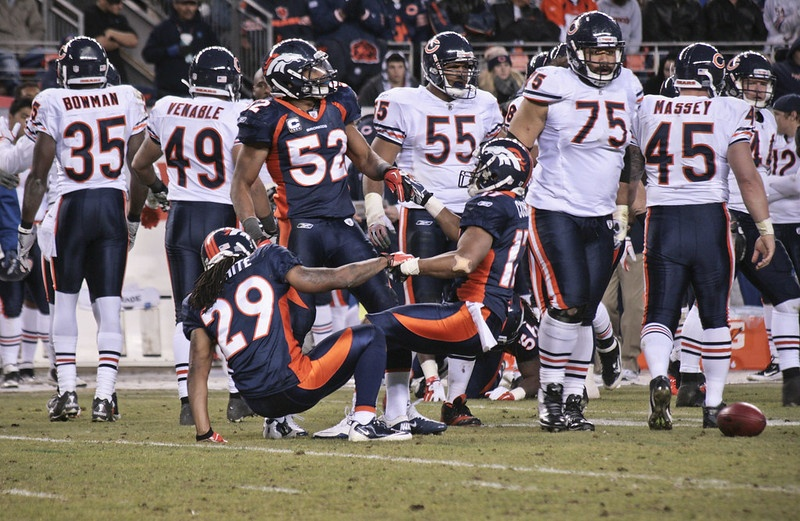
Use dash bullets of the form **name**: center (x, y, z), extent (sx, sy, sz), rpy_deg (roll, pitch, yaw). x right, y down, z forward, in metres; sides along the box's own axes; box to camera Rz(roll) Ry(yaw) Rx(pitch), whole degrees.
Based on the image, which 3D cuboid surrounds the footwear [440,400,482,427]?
- **footwear**: center (0.497, 1.305, 9.657), extent (0.154, 0.203, 0.418), rpy_deg (1, -5, -45)

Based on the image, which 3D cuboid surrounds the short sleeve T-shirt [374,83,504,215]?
- **short sleeve T-shirt**: center (0.330, -0.974, 9.938), extent (1.270, 1.113, 0.443), rpy_deg (0, -2, -22)

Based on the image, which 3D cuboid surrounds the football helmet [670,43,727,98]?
- **football helmet**: center (2.552, -1.625, 9.600), extent (0.426, 0.480, 0.583), rpy_deg (8, 12, 31)

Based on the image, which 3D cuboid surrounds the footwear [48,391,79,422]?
- **footwear**: center (-3.033, 1.303, 10.135), extent (0.162, 0.208, 0.376), rpy_deg (5, -1, -27)

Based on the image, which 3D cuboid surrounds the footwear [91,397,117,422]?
- **footwear**: center (-2.679, 1.339, 10.131), extent (0.118, 0.145, 0.321), rpy_deg (5, -21, -3)

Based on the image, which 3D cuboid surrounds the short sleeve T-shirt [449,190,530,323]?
- **short sleeve T-shirt**: center (0.683, -0.069, 9.029), extent (0.624, 1.091, 1.108), rpy_deg (11, 0, 7)

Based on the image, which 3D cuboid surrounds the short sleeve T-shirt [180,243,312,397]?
- **short sleeve T-shirt**: center (-1.116, 0.392, 8.475), extent (0.947, 1.138, 0.407), rpy_deg (-16, -4, 10)

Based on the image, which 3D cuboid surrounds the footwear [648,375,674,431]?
- **footwear**: center (2.117, 1.136, 9.147), extent (0.189, 0.473, 0.293), rpy_deg (0, 9, 12)

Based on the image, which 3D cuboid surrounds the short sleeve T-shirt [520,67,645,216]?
- **short sleeve T-shirt**: center (1.879, -1.019, 9.349), extent (0.648, 1.069, 1.083), rpy_deg (-16, 17, -39)

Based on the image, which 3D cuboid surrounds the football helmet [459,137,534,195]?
- **football helmet**: center (0.783, -0.763, 9.001), extent (0.496, 0.429, 0.378), rpy_deg (10, 9, 14)

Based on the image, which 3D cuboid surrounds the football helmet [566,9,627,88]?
- **football helmet**: center (1.628, -1.758, 9.324), extent (0.449, 0.583, 0.583), rpy_deg (-6, 21, -15)

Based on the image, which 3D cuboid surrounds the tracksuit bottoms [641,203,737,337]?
- **tracksuit bottoms**: center (2.373, 0.056, 9.231), extent (0.707, 1.042, 0.295), rpy_deg (0, 9, 12)

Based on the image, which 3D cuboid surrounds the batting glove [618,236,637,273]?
- **batting glove**: center (2.371, -0.059, 11.766), extent (0.110, 0.387, 0.273), rpy_deg (5, -7, 15)

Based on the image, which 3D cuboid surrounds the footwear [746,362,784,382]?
- **footwear**: center (4.136, 1.264, 12.731), extent (0.497, 0.226, 0.168), rpy_deg (0, -1, 5)

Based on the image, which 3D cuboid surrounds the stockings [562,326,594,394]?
- **stockings**: center (1.522, 0.848, 9.535), extent (0.198, 0.656, 0.283), rpy_deg (8, 3, 22)

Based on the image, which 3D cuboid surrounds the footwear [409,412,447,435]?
- **footwear**: center (0.209, 1.347, 9.280), extent (0.355, 0.160, 0.124), rpy_deg (-3, -1, 8)

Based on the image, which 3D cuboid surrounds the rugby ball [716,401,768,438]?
- **rugby ball**: center (2.711, 1.263, 8.945), extent (0.414, 0.328, 0.322), rpy_deg (5, -19, 23)

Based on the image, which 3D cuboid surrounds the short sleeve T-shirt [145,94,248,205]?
- **short sleeve T-shirt**: center (-1.800, -1.000, 10.048), extent (1.017, 0.935, 0.550), rpy_deg (1, 8, 7)

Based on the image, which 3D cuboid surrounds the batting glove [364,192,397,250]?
- **batting glove**: center (-0.172, -0.360, 9.951), extent (0.172, 0.505, 0.260), rpy_deg (7, -32, -38)

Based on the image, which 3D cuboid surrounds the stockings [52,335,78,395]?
- **stockings**: center (-3.104, 0.963, 10.393), extent (0.199, 0.634, 0.181), rpy_deg (5, 10, 20)

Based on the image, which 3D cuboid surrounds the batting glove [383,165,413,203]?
- **batting glove**: center (-0.015, -0.632, 9.310), extent (0.121, 0.253, 0.261), rpy_deg (-41, 17, 10)

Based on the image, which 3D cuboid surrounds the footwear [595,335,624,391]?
- **footwear**: center (2.056, 0.990, 11.160), extent (0.281, 0.647, 0.213), rpy_deg (13, -10, -37)

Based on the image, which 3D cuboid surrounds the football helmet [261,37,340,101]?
- **football helmet**: center (-0.824, -1.607, 9.317), extent (0.599, 0.400, 0.437), rpy_deg (6, 23, 9)

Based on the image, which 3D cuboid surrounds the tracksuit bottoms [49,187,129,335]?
- **tracksuit bottoms**: center (-2.899, 0.061, 10.451), extent (0.664, 1.446, 0.474), rpy_deg (2, 8, -17)

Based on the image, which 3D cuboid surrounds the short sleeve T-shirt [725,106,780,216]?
- **short sleeve T-shirt**: center (3.424, -0.986, 10.973), extent (0.785, 1.031, 0.373), rpy_deg (1, 7, -12)

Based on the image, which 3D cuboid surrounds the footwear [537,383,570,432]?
- **footwear**: center (1.252, 1.183, 9.307), extent (0.201, 0.407, 0.593), rpy_deg (9, 3, -3)

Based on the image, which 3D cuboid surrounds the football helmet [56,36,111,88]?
- **football helmet**: center (-2.912, -1.810, 10.326), extent (0.385, 0.447, 0.505), rpy_deg (-4, 28, -13)

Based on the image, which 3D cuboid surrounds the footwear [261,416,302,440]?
- **footwear**: center (-0.966, 1.347, 9.204), extent (0.399, 0.246, 0.143), rpy_deg (-2, 1, -24)

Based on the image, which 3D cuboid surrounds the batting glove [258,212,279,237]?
- **batting glove**: center (-1.097, -0.305, 9.554), extent (0.139, 0.174, 0.182), rpy_deg (-24, 16, 11)

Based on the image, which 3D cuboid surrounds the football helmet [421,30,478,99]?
- **football helmet**: center (0.368, -1.788, 10.265), extent (0.452, 0.541, 0.600), rpy_deg (-11, 20, -36)

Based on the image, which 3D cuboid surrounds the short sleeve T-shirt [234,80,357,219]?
- **short sleeve T-shirt**: center (-0.859, -0.898, 9.288), extent (1.151, 1.071, 0.571), rpy_deg (-6, -2, -36)

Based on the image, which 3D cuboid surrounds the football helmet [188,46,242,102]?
- **football helmet**: center (-1.689, -1.681, 10.195), extent (0.399, 0.425, 0.524), rpy_deg (6, 15, 8)

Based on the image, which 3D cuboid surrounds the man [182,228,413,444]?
- **man**: center (-0.851, 0.400, 8.987), extent (2.143, 1.866, 1.492), rpy_deg (2, 11, 17)

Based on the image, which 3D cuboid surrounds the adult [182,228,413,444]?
- **adult**: center (-0.817, 0.373, 8.968), extent (2.143, 1.866, 1.492), rpy_deg (2, 11, 17)

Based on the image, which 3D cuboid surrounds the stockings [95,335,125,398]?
- **stockings**: center (-2.709, 1.007, 10.353), extent (0.223, 0.732, 0.227), rpy_deg (-1, -20, 12)

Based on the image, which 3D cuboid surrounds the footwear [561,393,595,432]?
- **footwear**: center (1.431, 1.246, 9.297), extent (0.154, 0.313, 0.431), rpy_deg (8, -2, -30)

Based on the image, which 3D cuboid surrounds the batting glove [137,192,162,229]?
- **batting glove**: center (-2.646, -0.506, 11.608), extent (0.330, 0.323, 0.114), rpy_deg (-5, 0, 44)

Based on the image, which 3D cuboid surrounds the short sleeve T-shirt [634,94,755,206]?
- **short sleeve T-shirt**: center (2.447, -0.895, 9.491), extent (1.159, 1.033, 0.655), rpy_deg (4, 11, 39)

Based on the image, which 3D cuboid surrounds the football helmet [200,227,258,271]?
- **football helmet**: center (-1.328, -0.070, 8.653), extent (0.382, 0.279, 0.308), rpy_deg (-6, 49, -23)

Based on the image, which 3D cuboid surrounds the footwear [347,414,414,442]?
- **footwear**: center (-0.184, 1.311, 8.894), extent (0.564, 0.219, 0.189), rpy_deg (1, -4, -9)
